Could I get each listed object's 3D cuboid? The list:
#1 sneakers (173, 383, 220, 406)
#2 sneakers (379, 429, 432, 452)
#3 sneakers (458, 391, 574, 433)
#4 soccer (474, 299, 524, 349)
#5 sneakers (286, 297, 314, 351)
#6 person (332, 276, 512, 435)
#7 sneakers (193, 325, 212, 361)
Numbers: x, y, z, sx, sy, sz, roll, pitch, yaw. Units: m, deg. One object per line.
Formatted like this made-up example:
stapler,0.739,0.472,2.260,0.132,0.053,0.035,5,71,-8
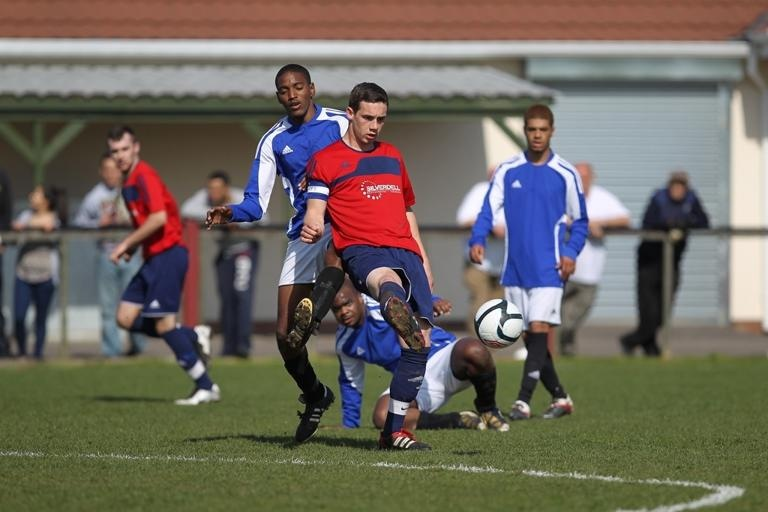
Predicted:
sneakers,-2.335,1.703,19.871,0.649,0.240,0.208,-2,-1,-14
sneakers,0.228,2.029,17.744,0.616,0.237,0.209,-1,-1,4
sneakers,1.570,1.841,18.989,0.631,0.250,0.190,-23,-25,10
soccer,1.373,0.738,18.800,0.579,0.527,0.530,9,14,7
sneakers,-0.861,0.734,17.607,0.231,0.584,0.259,24,3,18
person,0.405,1.209,18.689,1.183,1.506,1.112,-34,-24,25
sneakers,-2.318,1.065,20.242,0.178,0.467,0.220,-10,13,25
